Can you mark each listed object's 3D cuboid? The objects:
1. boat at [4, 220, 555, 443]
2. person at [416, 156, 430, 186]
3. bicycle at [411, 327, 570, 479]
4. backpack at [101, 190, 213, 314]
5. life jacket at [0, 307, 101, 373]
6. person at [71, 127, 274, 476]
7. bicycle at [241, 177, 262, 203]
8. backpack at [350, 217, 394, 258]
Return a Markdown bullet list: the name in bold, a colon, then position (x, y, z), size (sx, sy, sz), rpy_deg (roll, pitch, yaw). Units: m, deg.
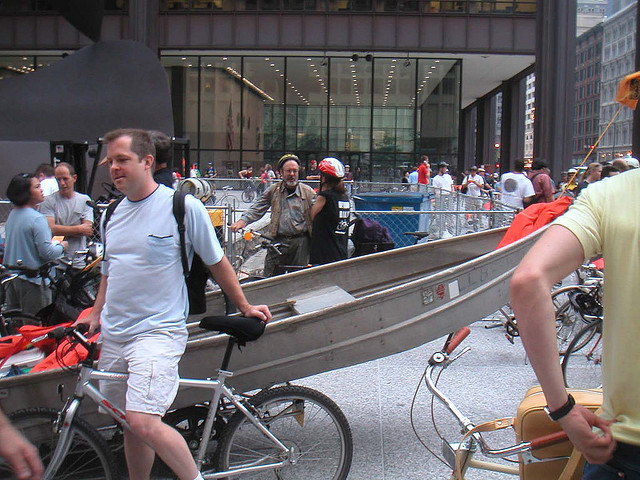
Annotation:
- **boat**: position (-0.285, 0.670, 4.239), size (3.331, 0.633, 0.786), rpy_deg (-15, 27, -23)
- **person**: position (3.476, -2.345, 20.005), size (0.300, 0.862, 1.001), rpy_deg (0, 8, 5)
- **bicycle**: position (0.839, 0.949, 2.982), size (0.689, 0.334, 0.759), rpy_deg (-6, 29, 9)
- **backpack**: position (-0.938, 0.073, 3.455), size (0.637, 0.941, 0.468), rpy_deg (-3, 4, 34)
- **life jacket**: position (-1.890, 0.706, 4.219), size (0.620, 0.235, 0.365), rpy_deg (-10, 10, -13)
- **person**: position (-0.919, 0.411, 3.454), size (1.021, 2.098, 0.797), rpy_deg (-1, 8, 0)
- **bicycle**: position (-1.801, -1.321, 15.821), size (0.310, 0.605, 0.943), rpy_deg (1, 8, 15)
- **backpack**: position (0.643, -0.033, 7.566), size (0.416, 0.546, 0.545), rpy_deg (-1, 2, 5)
